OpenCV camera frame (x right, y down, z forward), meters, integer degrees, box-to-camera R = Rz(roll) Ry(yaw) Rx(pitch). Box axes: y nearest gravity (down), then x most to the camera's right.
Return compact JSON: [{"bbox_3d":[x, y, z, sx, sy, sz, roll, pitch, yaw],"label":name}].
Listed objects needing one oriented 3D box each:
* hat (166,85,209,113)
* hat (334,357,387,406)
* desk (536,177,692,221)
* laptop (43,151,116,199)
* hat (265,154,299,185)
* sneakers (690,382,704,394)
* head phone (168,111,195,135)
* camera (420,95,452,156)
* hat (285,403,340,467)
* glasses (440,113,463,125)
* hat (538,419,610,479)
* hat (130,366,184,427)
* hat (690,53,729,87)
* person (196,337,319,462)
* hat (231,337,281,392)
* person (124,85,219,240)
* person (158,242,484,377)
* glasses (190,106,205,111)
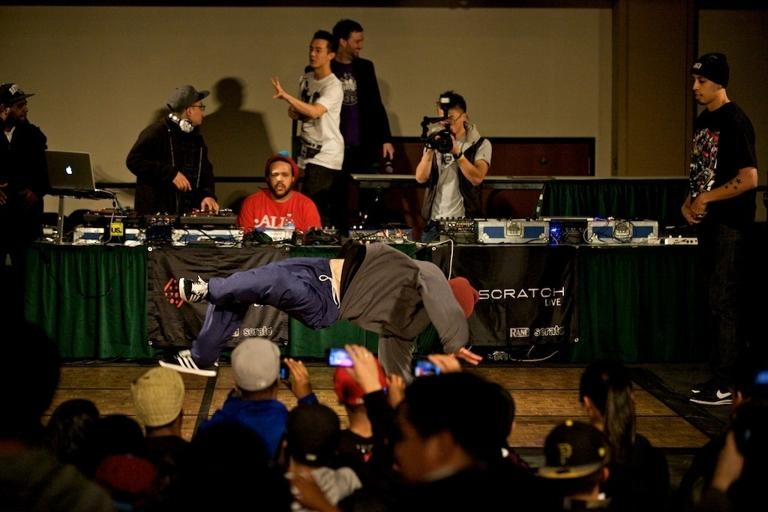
[{"bbox_3d":[-2.319,-1.836,7.572,0.496,0.206,0.322,-34,34,-14],"label":"hat"},{"bbox_3d":[-0.150,0.776,3.959,0.207,0.289,0.292,-20,-21,-9],"label":"hat"},{"bbox_3d":[2.722,-0.668,7.477,1.199,0.322,0.686,1,6,-2],"label":"desk"},{"bbox_3d":[-3.309,-0.840,7.024,0.543,0.411,0.587,4,4,7],"label":"laptop"},{"bbox_3d":[-1.133,-1.038,7.178,0.347,0.166,0.373,5,47,-7],"label":"hat"},{"bbox_3d":[2.847,1.202,5.865,0.101,0.114,0.086,11,7,-8],"label":"sneakers"},{"bbox_3d":[-2.400,-1.567,7.541,0.252,0.131,0.208,32,-14,23],"label":"head phone"},{"bbox_3d":[0.570,-1.371,6.784,0.349,0.593,0.219,5,9,6],"label":"camera"},{"bbox_3d":[-0.378,1.028,3.809,0.275,0.379,0.377,3,12,-2],"label":"hat"},{"bbox_3d":[0.771,-1.487,6.919,0.206,0.064,0.208,0,-1,-18],"label":"glasses"},{"bbox_3d":[1.038,1.080,3.524,0.275,0.209,0.364,-3,0,38],"label":"hat"},{"bbox_3d":[-1.302,0.835,3.808,0.272,0.282,0.352,-2,-1,-6],"label":"hat"},{"bbox_3d":[2.976,-1.654,5.771,0.355,0.292,0.356,5,8,14],"label":"hat"},{"bbox_3d":[-0.853,0.946,4.167,0.363,0.499,0.766,22,-32,0],"label":"person"},{"bbox_3d":[-0.768,0.655,3.907,0.241,0.159,0.322,0,37,-1],"label":"hat"},{"bbox_3d":[-2.436,-1.219,7.315,0.941,1.428,1.299,-3,12,-16],"label":"person"},{"bbox_3d":[-0.387,0.325,4.824,1.981,0.944,1.077,1,8,-11],"label":"person"},{"bbox_3d":[-2.208,-1.737,7.562,0.089,0.025,0.090,-1,2,-24],"label":"glasses"}]
